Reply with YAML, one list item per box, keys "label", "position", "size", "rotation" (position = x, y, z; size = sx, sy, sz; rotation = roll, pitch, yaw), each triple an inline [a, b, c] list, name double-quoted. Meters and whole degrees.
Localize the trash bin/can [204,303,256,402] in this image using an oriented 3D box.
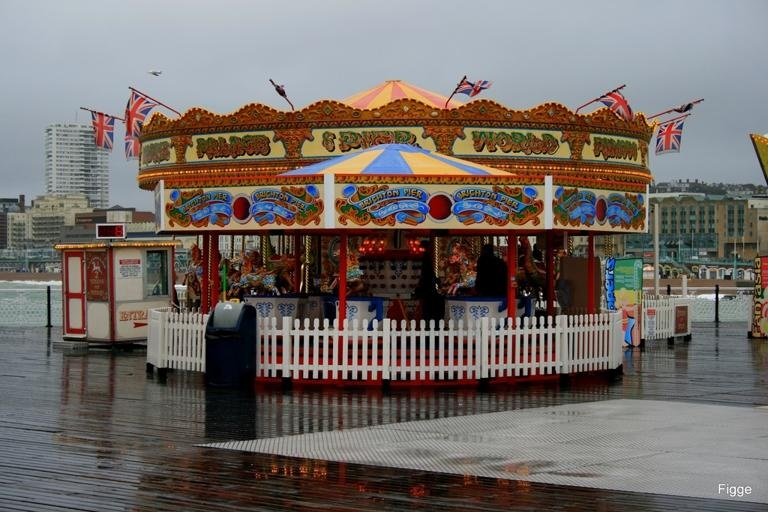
- label: "trash bin/can"
  position: [-2.790, 1.631, 18.963]
  size: [0.886, 1.484, 0.393]
  rotation: [0, 3, -9]
